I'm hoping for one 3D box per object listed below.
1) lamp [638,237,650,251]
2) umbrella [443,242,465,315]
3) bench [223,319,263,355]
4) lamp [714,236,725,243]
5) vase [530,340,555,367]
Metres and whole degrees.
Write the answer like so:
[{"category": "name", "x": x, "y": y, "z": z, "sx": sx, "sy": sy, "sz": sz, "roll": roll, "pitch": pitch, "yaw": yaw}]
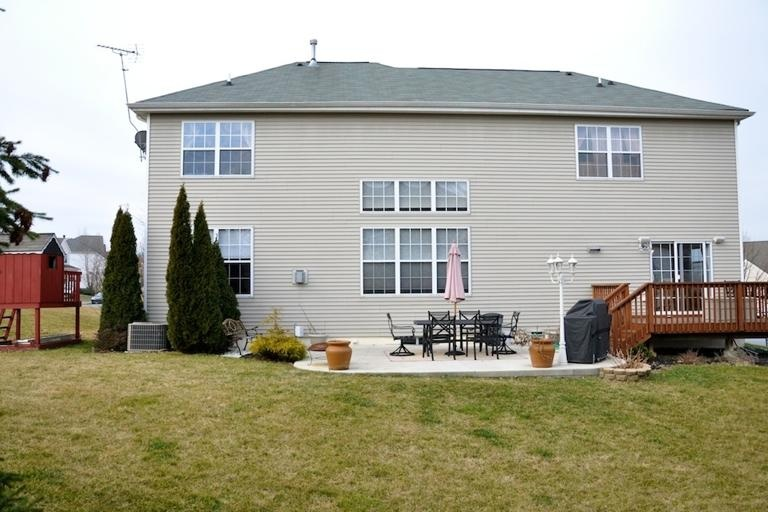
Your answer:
[{"category": "lamp", "x": 8.958, "y": -0.392, "z": 29.931, "sx": 0.448, "sy": 0.521, "sz": 0.359, "roll": 1, "pitch": 5, "yaw": 7}, {"category": "umbrella", "x": 2.231, "y": 0.741, "z": 27.320, "sx": 0.535, "sy": 2.278, "sz": 0.866, "roll": 0, "pitch": -5, "yaw": 4}, {"category": "bench", "x": -4.542, "y": 2.560, "z": 27.567, "sx": 0.967, "sy": 1.362, "sz": 0.947, "roll": -4, "pitch": -4, "yaw": 36}, {"category": "lamp", "x": 11.541, "y": -0.477, "z": 29.879, "sx": 0.303, "sy": 0.262, "sz": 0.232, "roll": 0, "pitch": -8, "yaw": -7}, {"category": "vase", "x": 4.535, "y": 2.836, "z": 24.927, "sx": 0.662, "sy": 0.683, "sz": 0.777, "roll": -1, "pitch": -13, "yaw": 4}]
